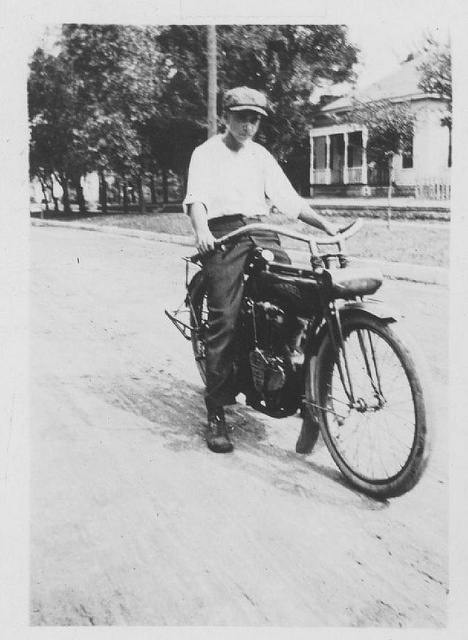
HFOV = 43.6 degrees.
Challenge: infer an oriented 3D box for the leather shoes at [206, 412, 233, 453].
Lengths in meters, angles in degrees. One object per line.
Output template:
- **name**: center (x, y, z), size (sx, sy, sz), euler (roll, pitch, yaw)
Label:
- **leather shoes**: center (-0.107, 0.608, 3.103), size (0.091, 0.217, 0.303), euler (10, -13, -12)

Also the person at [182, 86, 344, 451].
- **person**: center (0.027, -0.296, 2.784), size (0.626, 2.135, 0.601), euler (-6, -24, 11)
